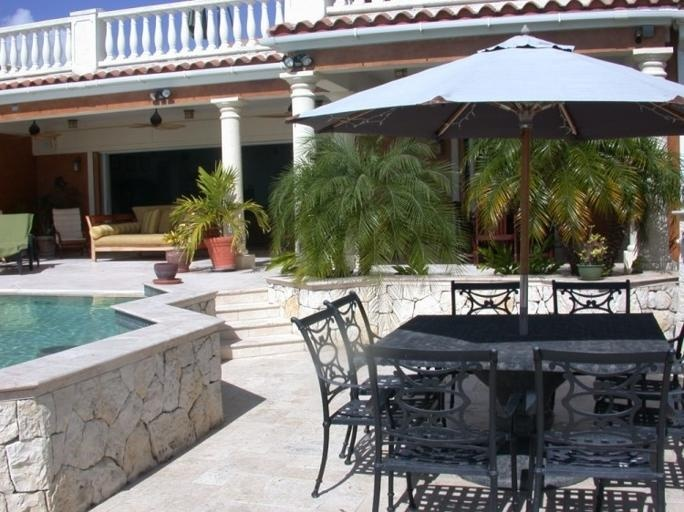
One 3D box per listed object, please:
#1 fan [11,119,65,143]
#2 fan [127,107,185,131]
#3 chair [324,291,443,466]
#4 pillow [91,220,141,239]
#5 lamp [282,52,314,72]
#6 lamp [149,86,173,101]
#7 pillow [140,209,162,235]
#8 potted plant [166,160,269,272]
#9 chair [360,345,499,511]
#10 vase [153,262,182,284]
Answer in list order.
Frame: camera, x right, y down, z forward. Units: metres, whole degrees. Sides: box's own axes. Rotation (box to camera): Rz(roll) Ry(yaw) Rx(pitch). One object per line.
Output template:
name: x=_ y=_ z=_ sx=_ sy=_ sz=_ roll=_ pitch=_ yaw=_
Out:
fan: x=-7.030 y=-2.922 z=15.406 sx=0.990 sy=0.260 sz=0.885 roll=4 pitch=6 yaw=29
fan: x=-3.819 y=-2.787 z=14.096 sx=0.866 sy=0.319 sz=0.889 roll=2 pitch=5 yaw=30
chair: x=0.141 y=0.782 z=5.225 sx=1.077 sy=1.458 sz=0.927 roll=1 pitch=8 yaw=16
pillow: x=-4.594 y=-0.548 z=13.615 sx=0.452 sy=0.309 sz=1.324 roll=-1 pitch=11 yaw=12
lamp: x=-0.642 y=-2.789 z=9.533 sx=0.256 sy=0.155 sz=0.349 roll=3 pitch=6 yaw=28
lamp: x=-3.173 y=-2.835 z=11.623 sx=0.343 sy=0.189 sz=0.150 roll=-5 pitch=33 yaw=24
pillow: x=-4.077 y=-0.740 z=14.258 sx=0.524 sy=0.582 sz=0.293 roll=-6 pitch=-22 yaw=4
potted plant: x=-2.170 y=-0.668 z=11.447 sx=1.816 sy=1.940 sz=2.019 roll=-1 pitch=-1 yaw=15
chair: x=0.622 y=0.947 z=4.539 sx=0.835 sy=1.253 sz=1.790 roll=-1 pitch=11 yaw=12
vase: x=-2.522 y=0.232 z=9.572 sx=0.332 sy=0.235 sz=0.327 roll=0 pitch=-2 yaw=-11
